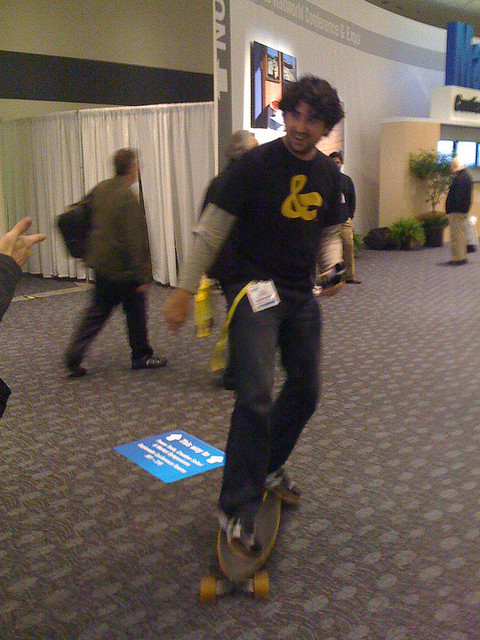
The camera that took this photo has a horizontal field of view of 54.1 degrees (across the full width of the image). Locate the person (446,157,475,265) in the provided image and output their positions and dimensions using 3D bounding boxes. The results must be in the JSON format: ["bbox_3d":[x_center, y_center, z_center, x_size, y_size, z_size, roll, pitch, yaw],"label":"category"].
[{"bbox_3d":[3.642,-1.794,7.877,0.350,1.692,0.566,1,13,11],"label":"person"}]

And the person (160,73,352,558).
[{"bbox_3d":[0.049,-0.053,1.285,0.302,1.155,0.548,8,16,37],"label":"person"}]

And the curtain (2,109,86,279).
[{"bbox_3d":[-3.141,-1.947,7.439,1.879,2.569,0.308,8,15,34],"label":"curtain"}]

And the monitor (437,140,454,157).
[{"bbox_3d":[4.792,-4.070,11.013,0.208,0.361,1.193,7,16,30],"label":"monitor"}]

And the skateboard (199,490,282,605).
[{"bbox_3d":[0.036,0.625,1.388,0.187,0.095,0.547,-12,2,11],"label":"skateboard"}]

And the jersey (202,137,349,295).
[{"bbox_3d":[0.122,-0.289,1.292,0.406,0.378,0.209,2,26,-22],"label":"jersey"}]

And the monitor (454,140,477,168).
[{"bbox_3d":[5.723,-4.266,12.004,0.181,0.605,1.491,9,17,38],"label":"monitor"}]
